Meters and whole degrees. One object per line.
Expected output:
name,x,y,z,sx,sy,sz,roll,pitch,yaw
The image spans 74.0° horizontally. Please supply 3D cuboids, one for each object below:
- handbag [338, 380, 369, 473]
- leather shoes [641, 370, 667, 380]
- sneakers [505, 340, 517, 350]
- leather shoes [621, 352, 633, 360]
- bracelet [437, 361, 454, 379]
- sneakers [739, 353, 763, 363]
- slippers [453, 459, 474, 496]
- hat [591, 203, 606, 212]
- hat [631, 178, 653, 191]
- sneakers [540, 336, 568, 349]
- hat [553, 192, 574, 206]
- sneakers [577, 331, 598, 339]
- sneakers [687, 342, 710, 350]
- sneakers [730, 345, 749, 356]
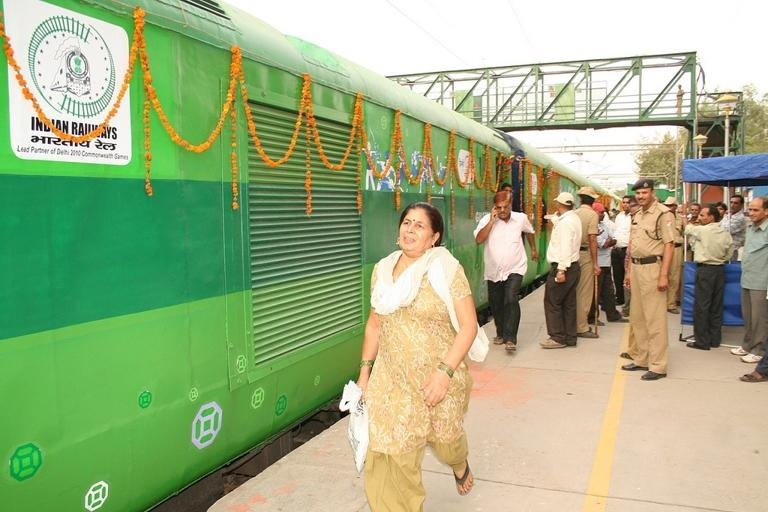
handbag,-0.187,1.132,3.237,0.169,0.693,0.313,-1,7,-4
leather shoes,3.361,1.502,6.409,0.333,0.129,0.125,2,-6,-14
sneakers,1.883,1.347,7.631,0.108,0.116,0.148,2,2,16
leather shoes,3.430,1.420,7.222,0.068,0.061,0.147,-3,7,-21
bracelet,0.383,0.695,3.152,0.080,0.094,0.089,29,-14,-24
sneakers,5.039,1.416,7.024,0.224,0.089,0.087,2,0,30
slippers,0.551,1.569,3.597,0.120,0.369,0.086,-2,11,31
hat,4.324,-0.990,10.308,0.249,0.126,0.370,0,8,21
hat,3.286,-0.913,6.483,0.247,0.152,0.249,3,8,25
sneakers,2.633,1.354,7.938,0.381,0.187,0.161,2,-4,0
hat,2.812,-0.888,8.078,0.273,0.197,0.377,0,7,-12
sneakers,3.401,1.312,8.548,0.375,0.171,0.134,-3,-2,23
sneakers,4.799,1.371,7.798,0.101,0.112,0.272,0,5,-29
sneakers,5.213,1.410,7.505,0.240,0.099,0.135,13,-4,-44
